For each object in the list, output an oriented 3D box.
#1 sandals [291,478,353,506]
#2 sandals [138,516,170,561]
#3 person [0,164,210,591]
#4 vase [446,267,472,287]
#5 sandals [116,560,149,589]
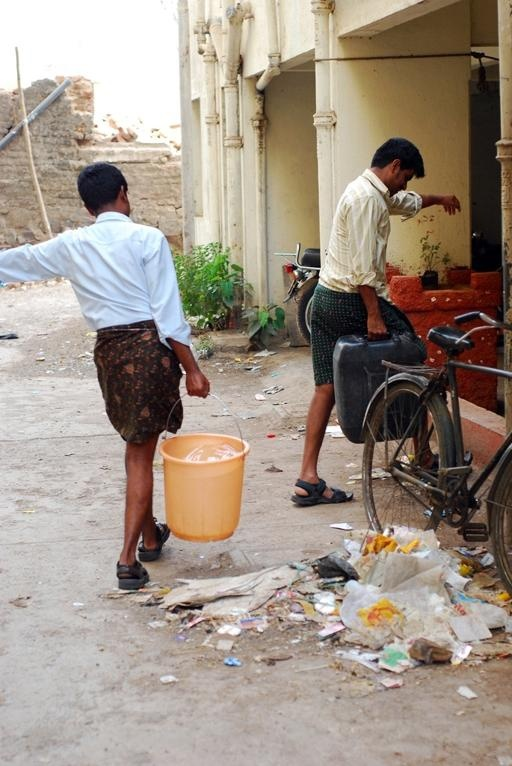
[{"bbox_3d":[0.334,0.555,4.208,0.341,0.132,0.123,-3,6,-23],"label":"sandals"},{"bbox_3d":[-0.447,0.688,3.548,0.077,0.096,0.208,0,38,26],"label":"sandals"},{"bbox_3d":[-0.555,-0.035,3.205,0.605,1.673,0.560,8,15,44],"label":"person"},{"bbox_3d":[1.563,-0.819,6.248,0.195,0.178,0.184,1,14,1],"label":"vase"},{"bbox_3d":[-0.478,0.746,3.110,0.064,0.069,0.160,0,0,5],"label":"sandals"}]
